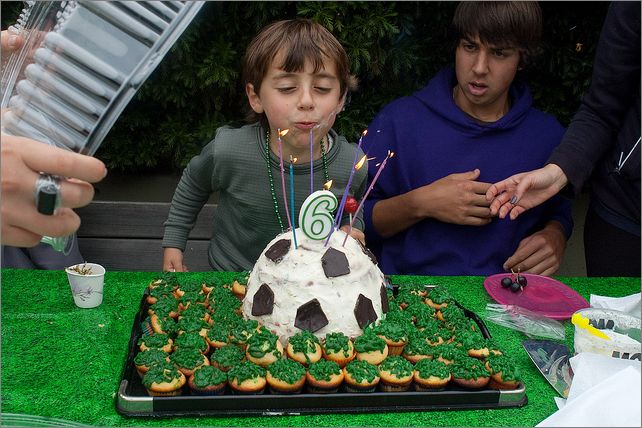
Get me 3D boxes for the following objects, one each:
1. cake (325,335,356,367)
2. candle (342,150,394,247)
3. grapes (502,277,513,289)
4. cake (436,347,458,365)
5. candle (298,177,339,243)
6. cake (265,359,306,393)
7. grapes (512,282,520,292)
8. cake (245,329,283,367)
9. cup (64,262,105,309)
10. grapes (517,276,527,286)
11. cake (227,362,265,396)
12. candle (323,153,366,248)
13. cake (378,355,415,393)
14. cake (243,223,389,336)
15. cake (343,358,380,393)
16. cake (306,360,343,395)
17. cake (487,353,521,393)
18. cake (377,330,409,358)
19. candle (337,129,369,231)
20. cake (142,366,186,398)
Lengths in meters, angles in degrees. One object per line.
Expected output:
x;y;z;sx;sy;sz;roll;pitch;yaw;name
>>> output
0.070;0.550;1.694;0.107;0.111;0.120;1;1;5;cake
0.317;-0.123;2.798;0.119;0.039;0.872;-33;28;49;candle
1.034;0.385;2.300;0.053;0.063;0.052;-12;14;-41;grapes
0.522;0.589;1.724;0.061;0.020;0.064;-14;36;20;cake
-0.006;-0.016;1.824;0.142;0.236;0.130;9;17;33;candle
-0.136;0.631;1.669;0.166;0.115;0.166;-3;13;-15;cake
1.073;0.405;2.284;0.039;0.049;0.041;-2;5;2;grapes
-0.237;0.538;1.730;0.159;0.115;0.129;-4;15;-9;cake
-1.118;0.326;2.061;0.203;0.235;0.193;5;13;-1;cup
1.119;0.377;2.298;0.048;0.059;0.046;-11;9;-30;grapes
-0.287;0.633;1.576;0.111;0.090;0.116;3;7;10;cake
0.094;-0.038;1.990;0.169;0.488;0.187;-18;29;-36;candle
0.299;0.641;1.693;0.119;0.111;0.124;1;5;2;cake
-0.032;0.321;1.808;0.486;0.303;0.497;2;12;-15;cake
0.158;0.639;1.609;0.114;0.087;0.119;1;6;2;cake
-0.236;0.543;1.715;0.159;0.078;0.190;7;26;2;cake
0.734;0.639;1.708;0.116;0.114;0.126;-3;15;-6;cake
0.318;0.562;1.808;0.099;0.076;0.103;-1;7;-3;cake
0.202;-0.190;2.643;0.170;0.174;0.947;-39;10;2;candle
-0.590;0.631;1.543;0.112;0.079;0.119;5;7;1;cake
